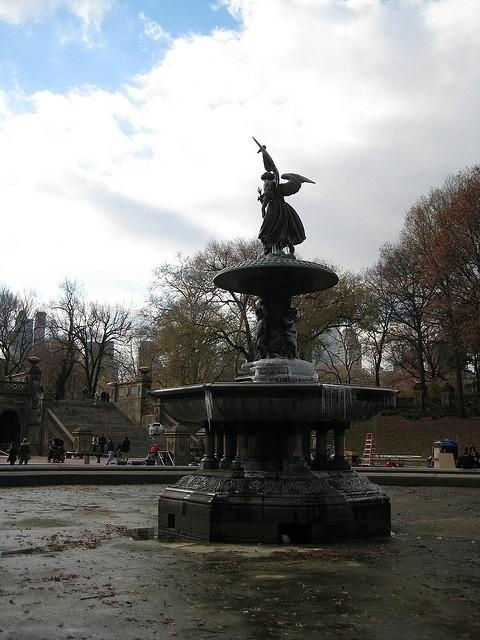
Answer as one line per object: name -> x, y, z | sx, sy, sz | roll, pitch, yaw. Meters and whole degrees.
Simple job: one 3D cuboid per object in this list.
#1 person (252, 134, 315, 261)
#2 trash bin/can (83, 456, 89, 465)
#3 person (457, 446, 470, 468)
person -> 0.666, -1.960, 10.513 | 0.822, 1.936, 0.598 | 0, -10, -1
trash bin/can -> -6.557, 5.950, 27.640 | 0.235, 0.335, 1.802 | 3, -10, -14
person -> 8.615, 5.425, 24.892 | 0.459, 0.596, 1.689 | -3, -10, 16
